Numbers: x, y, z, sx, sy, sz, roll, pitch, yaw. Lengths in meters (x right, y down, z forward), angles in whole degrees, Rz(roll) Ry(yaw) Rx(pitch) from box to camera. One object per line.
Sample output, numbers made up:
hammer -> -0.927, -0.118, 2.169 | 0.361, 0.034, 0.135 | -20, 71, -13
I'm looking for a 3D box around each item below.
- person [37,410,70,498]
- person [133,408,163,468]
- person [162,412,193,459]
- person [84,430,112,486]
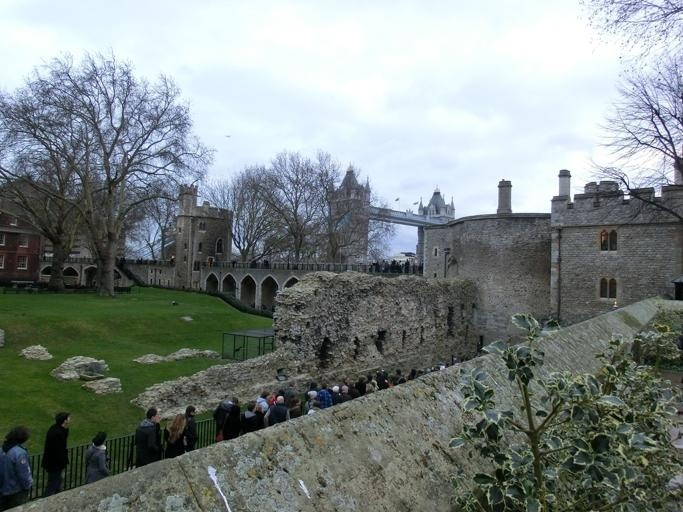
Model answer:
person -> -4.719, 3.236, 8.837 | 0.386, 1.418, 1.296 | 8, 0, -26
person -> -3.103, 2.971, 8.572 | 0.429, 0.968, 0.657 | 8, 0, -19
person -> -2.595, 2.896, 8.464 | 0.440, 0.735, 0.900 | 8, 0, -15
person -> -3.816, 3.134, 8.382 | 0.368, 0.819, 0.686 | 8, 0, -21
